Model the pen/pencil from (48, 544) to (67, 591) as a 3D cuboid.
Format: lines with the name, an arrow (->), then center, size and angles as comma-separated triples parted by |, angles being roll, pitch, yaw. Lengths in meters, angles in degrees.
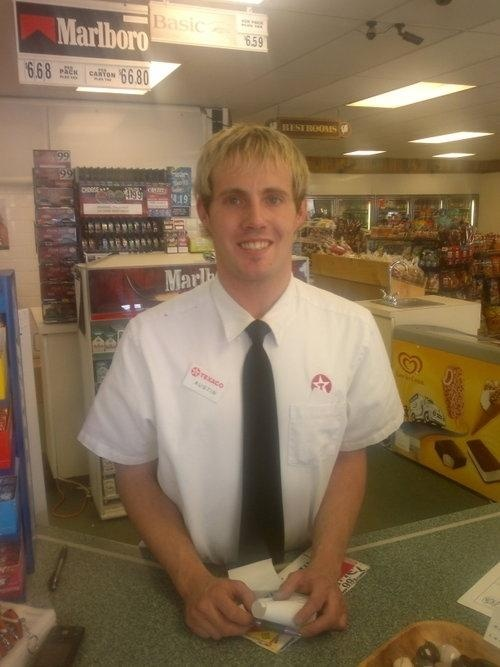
pen/pencil -> -0.405, 0.503, 1.092 | 0.018, 0.019, 0.069 | -4, 14, -7

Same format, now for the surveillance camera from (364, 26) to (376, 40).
surveillance camera -> 0.938, -2.405, 4.078 | 0.097, 0.105, 0.177 | 3, 34, 7

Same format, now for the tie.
tie -> 0.017, 0.237, 1.171 | 0.098, 0.533, 0.129 | -1, 5, 0

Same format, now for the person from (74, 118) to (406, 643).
person -> 0.046, 0.048, 1.154 | 0.781, 1.071, 0.580 | -3, 5, -24
